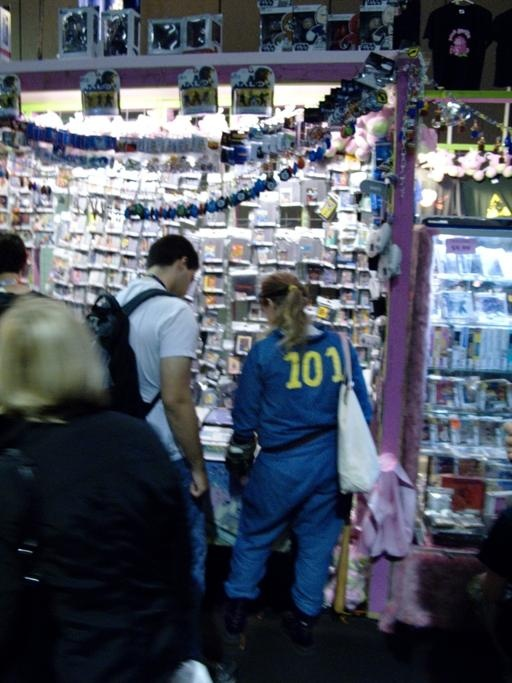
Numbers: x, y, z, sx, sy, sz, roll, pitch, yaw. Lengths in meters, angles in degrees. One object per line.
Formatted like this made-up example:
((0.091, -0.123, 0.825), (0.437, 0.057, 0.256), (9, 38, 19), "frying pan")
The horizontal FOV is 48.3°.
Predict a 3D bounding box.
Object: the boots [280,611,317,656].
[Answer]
((0.180, 1.314, 2.565), (0.160, 0.162, 0.076), (8, -37, -17), "boots")

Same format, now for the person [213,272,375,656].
((0.144, 0.530, 2.533), (0.557, 1.641, 0.304), (0, 8, -4), "person")

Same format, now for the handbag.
((0.415, 0.424, 2.381), (0.188, 0.496, 0.124), (4, 9, 22), "handbag")

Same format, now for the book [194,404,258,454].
((-0.145, 0.429, 2.740), (0.226, 0.057, 0.236), (3, 26, -2), "book")
